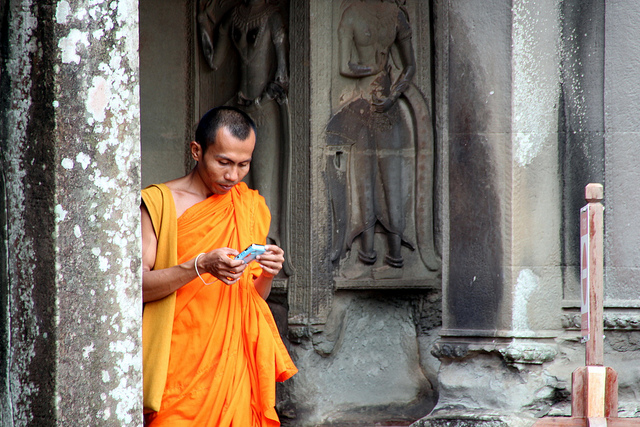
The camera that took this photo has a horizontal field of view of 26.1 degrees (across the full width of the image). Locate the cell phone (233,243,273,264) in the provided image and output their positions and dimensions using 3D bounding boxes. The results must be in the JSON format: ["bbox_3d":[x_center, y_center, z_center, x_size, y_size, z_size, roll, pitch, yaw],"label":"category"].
[{"bbox_3d":[-0.385,0.229,7.417,0.128,0.030,0.127,-6,-20,-45],"label":"cell phone"}]

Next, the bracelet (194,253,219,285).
[{"bbox_3d":[-0.617,0.295,7.419,0.132,0.161,0.039,-19,0,-11],"label":"bracelet"}]
